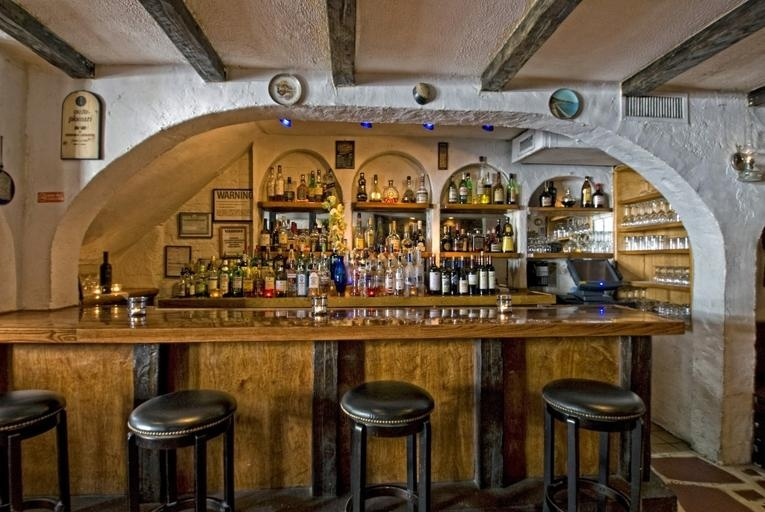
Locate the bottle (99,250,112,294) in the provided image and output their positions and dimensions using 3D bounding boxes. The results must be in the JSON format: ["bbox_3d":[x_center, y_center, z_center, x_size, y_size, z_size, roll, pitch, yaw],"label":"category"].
[{"bbox_3d":[-2.633,0.152,5.748,0.102,0.391,0.361,-2,-1,-24],"label":"bottle"}]

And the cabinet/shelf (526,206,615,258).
[{"bbox_3d":[2.036,-0.240,6.515,0.870,0.493,0.449,0,-3,20],"label":"cabinet/shelf"}]

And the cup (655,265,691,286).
[{"bbox_3d":[2.720,0.181,5.687,0.169,0.180,0.435,-2,0,-10],"label":"cup"}]

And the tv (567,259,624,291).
[{"bbox_3d":[2.118,0.179,6.099,0.499,0.306,0.359,-2,0,12],"label":"tv"}]

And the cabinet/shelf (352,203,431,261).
[{"bbox_3d":[0.023,-0.288,6.688,0.881,0.556,0.453,0,10,-24],"label":"cabinet/shelf"}]

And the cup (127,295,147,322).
[{"bbox_3d":[-1.763,0.374,4.359,0.122,0.166,0.204,-2,0,-20],"label":"cup"}]

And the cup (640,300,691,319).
[{"bbox_3d":[2.636,0.494,5.652,0.189,0.170,0.590,-2,0,-9],"label":"cup"}]

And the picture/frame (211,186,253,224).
[{"bbox_3d":[-1.602,-0.544,6.440,0.426,0.340,0.055,0,-2,-2],"label":"picture/frame"}]

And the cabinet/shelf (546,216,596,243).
[{"bbox_3d":[2.045,-0.294,6.661,0.545,0.278,0.366,1,-3,24],"label":"cabinet/shelf"}]

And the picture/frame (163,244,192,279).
[{"bbox_3d":[-2.186,0.054,6.409,0.394,0.439,0.035,0,-1,-10],"label":"picture/frame"}]

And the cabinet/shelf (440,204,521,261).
[{"bbox_3d":[1.092,-0.286,6.612,0.951,0.545,0.502,0,2,9],"label":"cabinet/shelf"}]

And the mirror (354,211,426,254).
[{"bbox_3d":[0.048,-0.192,6.609,0.735,0.468,0.405,-1,-11,7],"label":"mirror"}]

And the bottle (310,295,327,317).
[{"bbox_3d":[-0.500,0.375,4.548,0.135,0.130,0.133,2,-2,-21],"label":"bottle"}]

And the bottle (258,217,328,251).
[{"bbox_3d":[-0.944,-0.220,6.362,0.699,0.353,0.427,0,1,5],"label":"bottle"}]

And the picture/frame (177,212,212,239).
[{"bbox_3d":[-2.016,-0.330,6.440,0.302,0.235,0.030,1,-1,-7],"label":"picture/frame"}]

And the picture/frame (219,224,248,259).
[{"bbox_3d":[-1.582,-0.164,6.437,0.386,0.408,0.056,0,0,-4],"label":"picture/frame"}]
